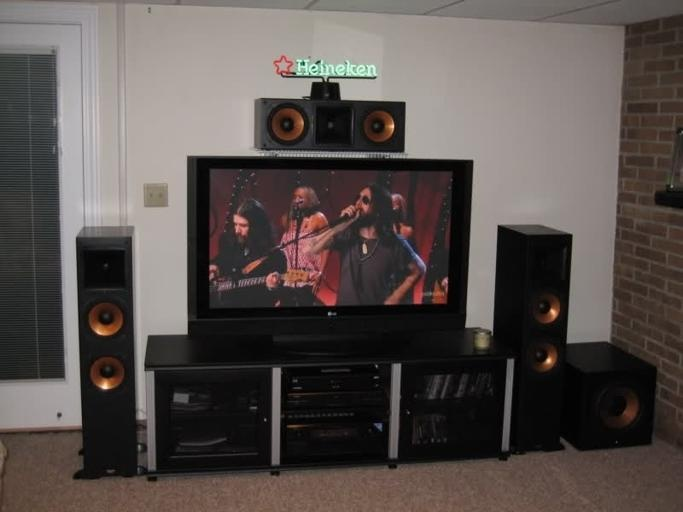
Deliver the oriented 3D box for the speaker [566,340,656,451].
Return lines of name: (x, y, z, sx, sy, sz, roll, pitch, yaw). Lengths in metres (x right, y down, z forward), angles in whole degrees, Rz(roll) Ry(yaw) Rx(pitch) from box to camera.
speaker: (1.678, 0.914, 4.183, 0.515, 0.531, 0.572, -2, 10, -7)

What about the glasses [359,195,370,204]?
glasses: (0.144, -0.341, 3.759, 0.042, 0.043, 0.017, -1, 34, 11)

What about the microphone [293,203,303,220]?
microphone: (-0.259, -0.271, 3.708, 0.068, 0.095, 0.083, 6, 21, 8)
